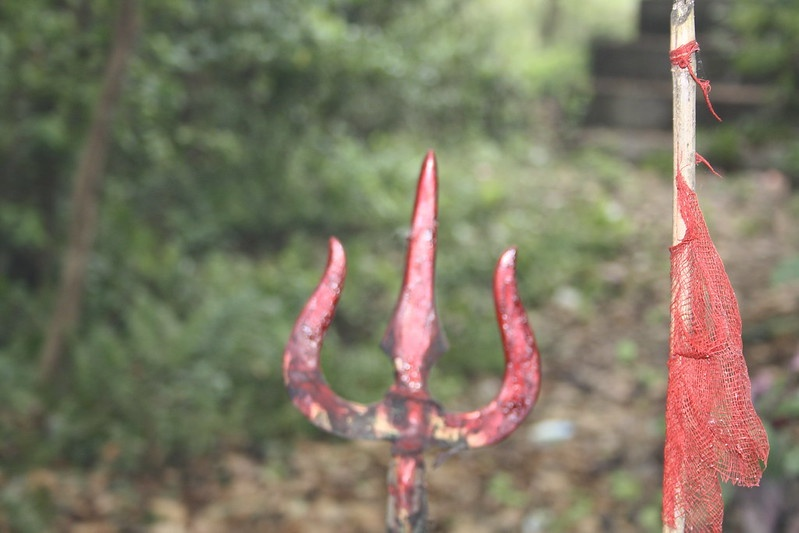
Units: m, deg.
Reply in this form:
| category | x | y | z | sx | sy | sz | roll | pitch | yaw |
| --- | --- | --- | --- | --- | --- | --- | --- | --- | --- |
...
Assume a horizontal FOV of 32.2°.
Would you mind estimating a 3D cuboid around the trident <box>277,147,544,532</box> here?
| category | x | y | z | sx | sy | sz | roll | pitch | yaw |
| --- | --- | --- | --- | --- | --- | --- | --- | --- | --- |
| trident | 0.047 | 0.147 | 3.920 | 0.586 | 0.186 | 1.095 | 2 | 93 | 1 |
